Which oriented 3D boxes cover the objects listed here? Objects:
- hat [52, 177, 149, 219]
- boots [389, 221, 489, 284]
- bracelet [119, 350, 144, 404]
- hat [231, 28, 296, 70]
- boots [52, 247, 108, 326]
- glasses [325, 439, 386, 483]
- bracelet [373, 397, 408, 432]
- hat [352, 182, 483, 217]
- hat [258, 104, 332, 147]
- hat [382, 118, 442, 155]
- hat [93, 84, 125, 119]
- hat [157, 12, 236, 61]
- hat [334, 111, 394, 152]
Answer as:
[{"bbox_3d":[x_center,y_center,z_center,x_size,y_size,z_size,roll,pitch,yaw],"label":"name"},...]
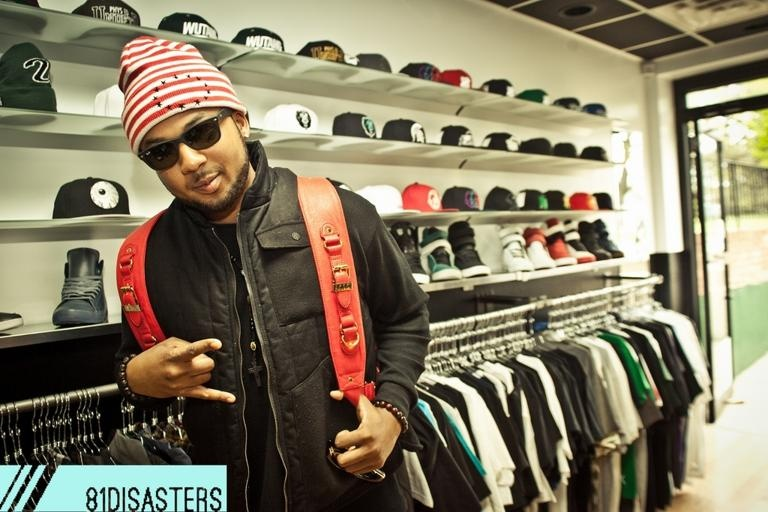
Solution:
[{"bbox_3d":[-1.289,-0.257,2.310,0.251,0.143,0.241,0,-6,-27],"label":"hat"},{"bbox_3d":[0.343,-0.021,3.218,0.276,0.334,0.818,-3,-2,-25],"label":"boots"},{"bbox_3d":[-0.873,0.413,1.768,0.048,0.141,0.118,-6,5,-33],"label":"bracelet"},{"bbox_3d":[-0.636,-1.061,2.645,0.198,0.136,0.271,11,25,-9],"label":"hat"},{"bbox_3d":[-1.353,0.134,2.341,0.194,0.280,0.473,2,6,-21],"label":"boots"},{"bbox_3d":[-0.081,0.668,1.665,0.177,0.059,0.125,29,-10,-38],"label":"glasses"},{"bbox_3d":[0.019,0.508,1.692,0.121,0.044,0.087,24,31,12],"label":"bracelet"},{"bbox_3d":[0.132,-0.344,3.108,0.530,0.160,0.345,-9,-7,34],"label":"hat"},{"bbox_3d":[-0.527,-0.715,2.829,0.491,0.236,0.271,-6,17,-24],"label":"hat"},{"bbox_3d":[0.140,-0.718,3.115,0.282,0.127,0.160,6,17,-7],"label":"hat"},{"bbox_3d":[-1.216,-0.702,2.325,0.087,0.109,0.117,-12,-8,-4],"label":"hat"},{"bbox_3d":[-0.916,-1.072,2.490,0.378,0.171,0.243,21,29,12],"label":"hat"},{"bbox_3d":[-0.126,-0.706,2.964,0.264,0.149,0.166,3,-3,-35],"label":"hat"}]
